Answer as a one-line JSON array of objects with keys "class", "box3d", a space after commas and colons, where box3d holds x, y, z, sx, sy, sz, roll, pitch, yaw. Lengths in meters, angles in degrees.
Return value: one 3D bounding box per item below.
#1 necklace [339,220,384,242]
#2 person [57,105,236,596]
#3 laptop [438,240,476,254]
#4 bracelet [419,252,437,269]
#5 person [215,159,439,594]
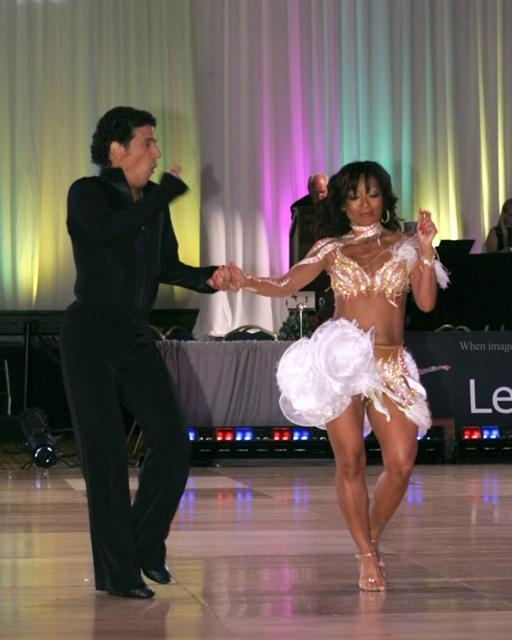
[{"class": "necklace", "box3d": [0.344, -0.281, 2.938, 0.092, 0.044, 0.072, -20, -3, 28]}, {"class": "person", "box3d": [-0.308, 0.078, 2.671, 0.339, 1.379, 0.488, -1, -3, 25]}, {"class": "laptop", "box3d": [1.421, -0.531, 6.564, 0.235, 0.116, 0.210, -1, -3, 5]}, {"class": "bracelet", "box3d": [0.517, -0.181, 2.800, 0.033, 0.041, 0.037, -3, 43, 16]}, {"class": "person", "box3d": [0.337, 0.136, 2.918, 0.460, 1.281, 0.560, 1, -3, -32]}]
